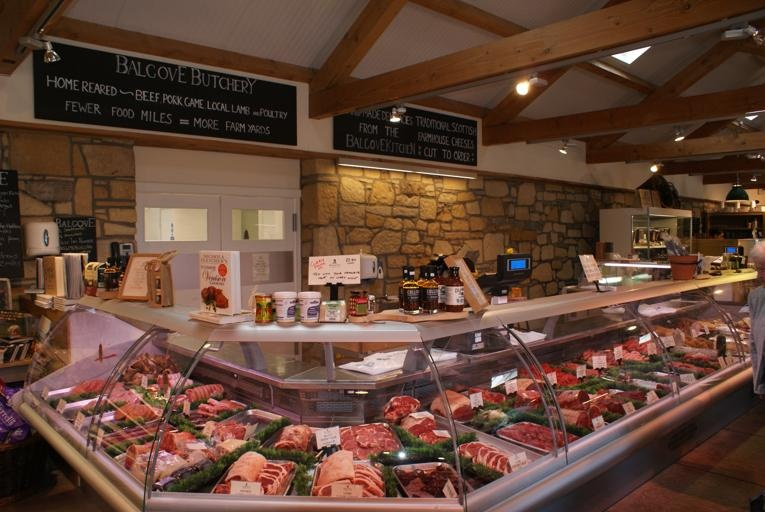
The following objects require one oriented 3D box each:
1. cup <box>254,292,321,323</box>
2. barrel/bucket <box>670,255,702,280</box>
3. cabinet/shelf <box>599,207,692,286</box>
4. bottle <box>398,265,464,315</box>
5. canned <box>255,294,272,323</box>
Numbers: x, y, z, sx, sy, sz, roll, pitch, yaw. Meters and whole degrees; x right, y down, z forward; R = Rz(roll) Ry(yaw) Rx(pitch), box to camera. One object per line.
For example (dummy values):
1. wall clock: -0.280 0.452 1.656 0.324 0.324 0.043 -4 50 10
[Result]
1. cup: -0.515 0.272 2.766 0.308 0.117 0.184 1 1 7
2. barrel/bucket: 2.673 0.095 4.399 0.248 0.216 0.139 -2 3 13
3. cabinet/shelf: 3.856 -0.200 7.482 1.396 1.138 0.675 -3 6 -35
4. bottle: 0.277 0.164 2.810 0.327 0.200 0.297 -1 4 -8
5. canned: -0.650 0.285 2.729 0.105 0.156 0.070 -4 3 -14
